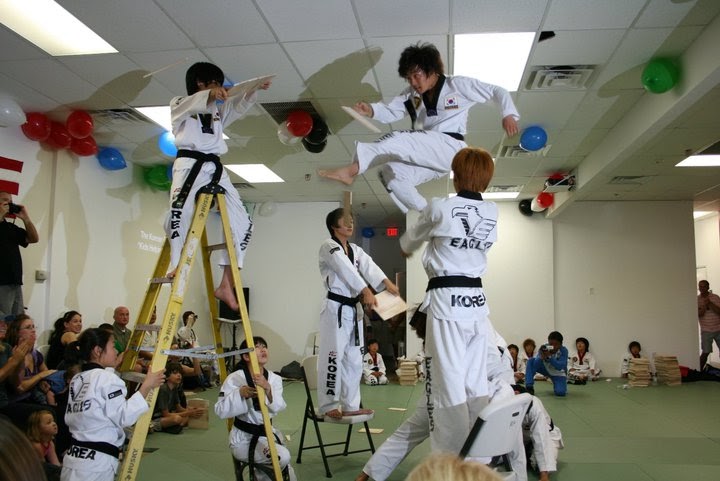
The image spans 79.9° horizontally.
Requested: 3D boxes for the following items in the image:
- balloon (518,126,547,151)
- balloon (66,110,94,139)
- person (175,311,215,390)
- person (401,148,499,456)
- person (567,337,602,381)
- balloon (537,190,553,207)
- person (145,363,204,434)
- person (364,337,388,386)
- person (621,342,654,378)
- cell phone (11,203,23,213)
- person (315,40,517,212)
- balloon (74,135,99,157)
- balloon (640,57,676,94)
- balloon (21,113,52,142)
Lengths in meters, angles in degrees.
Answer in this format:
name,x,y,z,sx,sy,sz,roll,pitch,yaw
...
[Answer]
name,x,y,z,sx,sy,sz,roll,pitch,yaw
balloon,2.507,-1.492,6.229,0.316,0.376,0.426,-2,-6,19
balloon,-3.723,-1.583,5.764,0.301,0.365,0.281,1,-6,-16
person,-3.057,1.971,7.945,0.686,1.249,0.664,-2,-6,30
person,0.655,0.414,3.063,0.644,2.138,0.353,-2,-6,17
person,4.638,2.496,9.026,0.634,0.765,0.691,1,5,21
balloon,3.898,-0.855,9.065,0.266,0.312,0.636,-5,-7,37
person,-2.419,2.080,5.713,0.662,0.800,0.651,6,-9,-24
person,0.343,2.521,8.889,0.550,0.819,0.624,6,-8,-15
person,5.603,2.488,8.845,0.445,0.743,1.138,-4,-7,33
cell phone,-4.333,-0.389,5.435,0.123,0.120,0.043,3,22,-38
person,0.502,-0.828,3.600,1.361,1.527,0.595,16,-14,-3
balloon,-4.061,-1.395,6.424,0.263,0.205,0.337,2,0,5
balloon,3.366,-1.857,4.802,0.446,0.423,0.195,2,-6,-20
balloon,-4.363,-1.542,5.844,0.313,0.360,0.431,4,-7,-37
